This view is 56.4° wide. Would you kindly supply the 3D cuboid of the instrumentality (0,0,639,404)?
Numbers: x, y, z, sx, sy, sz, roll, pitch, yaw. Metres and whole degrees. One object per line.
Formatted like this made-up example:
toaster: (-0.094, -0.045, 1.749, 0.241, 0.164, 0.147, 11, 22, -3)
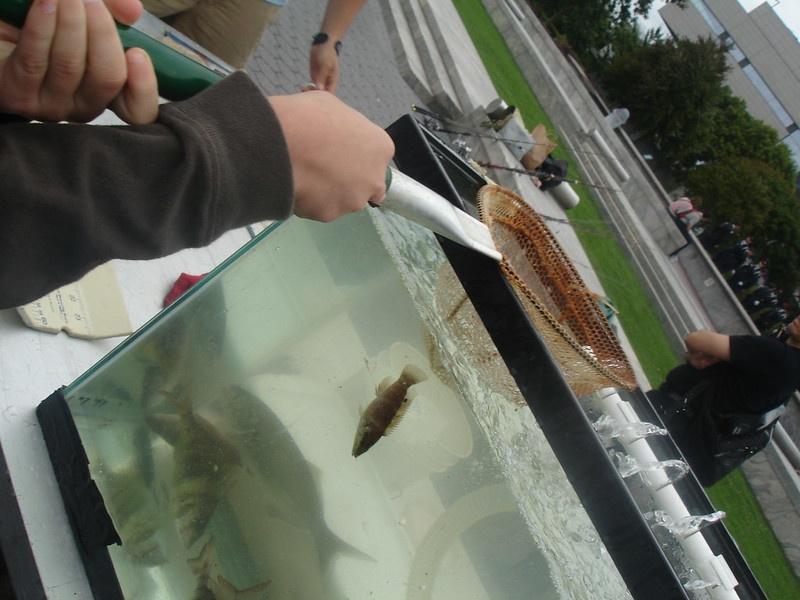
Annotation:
instrumentality: (-0.274, -0.365, 3.537, 2.797, 0.607, 0.959, 36, 3, 28)
